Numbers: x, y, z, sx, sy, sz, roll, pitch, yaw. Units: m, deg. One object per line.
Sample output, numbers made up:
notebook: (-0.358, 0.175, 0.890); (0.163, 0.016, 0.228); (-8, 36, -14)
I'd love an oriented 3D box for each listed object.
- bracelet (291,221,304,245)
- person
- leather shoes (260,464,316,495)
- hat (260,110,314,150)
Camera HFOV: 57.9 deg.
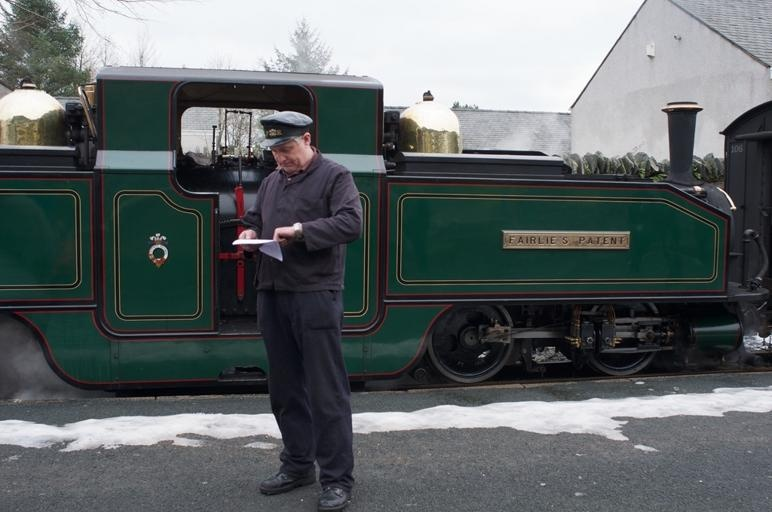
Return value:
bracelet: (-0.608, -0.170, 4.903); (0.083, 0.130, 0.118); (0, 3, -5)
person: (-0.606, 0.374, 5.008); (0.821, 2.790, 0.531); (1, 7, 24)
leather shoes: (-0.736, 1.625, 5.148); (0.468, 0.198, 0.158); (1, -2, -25)
hat: (-0.698, -0.925, 4.963); (0.304, 0.158, 0.267); (-13, 25, -31)
